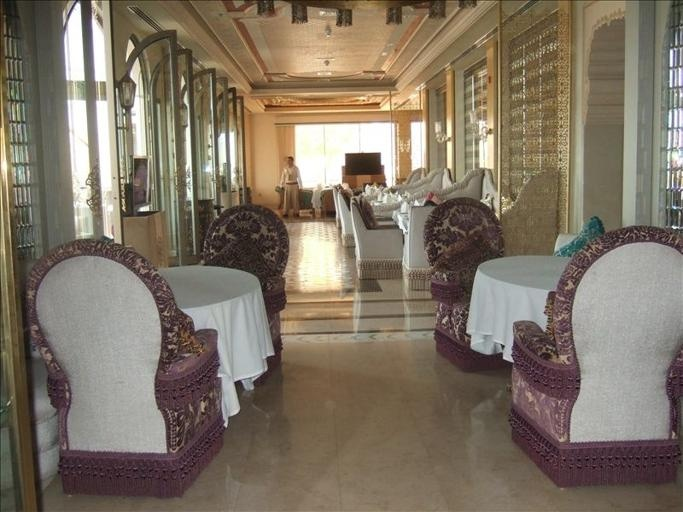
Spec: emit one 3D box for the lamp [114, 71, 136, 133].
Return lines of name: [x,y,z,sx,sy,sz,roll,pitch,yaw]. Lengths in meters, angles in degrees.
lamp: [-2.765,-1.989,6.965,0.202,0.654,0.887,-5,12,-20]

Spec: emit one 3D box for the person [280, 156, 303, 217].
person: [-1.580,-2.168,16.781,0.602,1.800,1.415,-2,11,-6]

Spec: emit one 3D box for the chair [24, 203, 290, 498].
chair: [-0.946,0.506,2.490,0.803,1.222,0.371,-8,13,-31]
